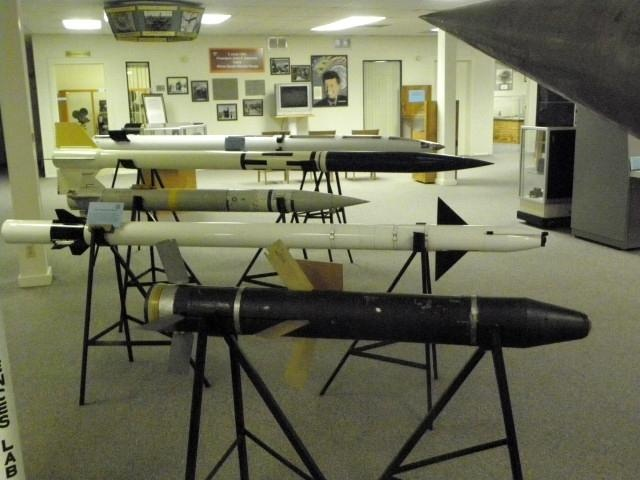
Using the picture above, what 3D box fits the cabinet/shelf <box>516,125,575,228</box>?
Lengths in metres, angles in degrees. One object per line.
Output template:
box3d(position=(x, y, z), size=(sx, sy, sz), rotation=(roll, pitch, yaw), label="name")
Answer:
box3d(position=(2.675, -0.746, 6.782), size=(0.592, 1.163, 0.522), rotation=(3, 13, 19), label="cabinet/shelf")

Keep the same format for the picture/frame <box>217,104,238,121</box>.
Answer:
box3d(position=(-2.081, -2.827, 12.642), size=(0.396, 0.309, 0.030), rotation=(0, 5, -11), label="picture/frame")

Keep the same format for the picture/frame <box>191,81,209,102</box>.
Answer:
box3d(position=(-2.619, -3.219, 12.355), size=(0.472, 0.519, 0.039), rotation=(-3, 10, -2), label="picture/frame")

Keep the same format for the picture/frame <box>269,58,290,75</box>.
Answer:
box3d(position=(-0.922, -3.865, 12.706), size=(0.409, 0.319, 0.038), rotation=(-1, 21, -4), label="picture/frame")

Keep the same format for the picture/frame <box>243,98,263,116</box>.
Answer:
box3d(position=(-1.519, -2.968, 12.747), size=(0.419, 0.324, 0.031), rotation=(0, 7, -11), label="picture/frame")

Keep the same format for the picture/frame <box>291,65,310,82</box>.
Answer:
box3d(position=(-0.463, -3.752, 12.853), size=(0.400, 0.283, 0.040), rotation=(1, 4, -7), label="picture/frame")
